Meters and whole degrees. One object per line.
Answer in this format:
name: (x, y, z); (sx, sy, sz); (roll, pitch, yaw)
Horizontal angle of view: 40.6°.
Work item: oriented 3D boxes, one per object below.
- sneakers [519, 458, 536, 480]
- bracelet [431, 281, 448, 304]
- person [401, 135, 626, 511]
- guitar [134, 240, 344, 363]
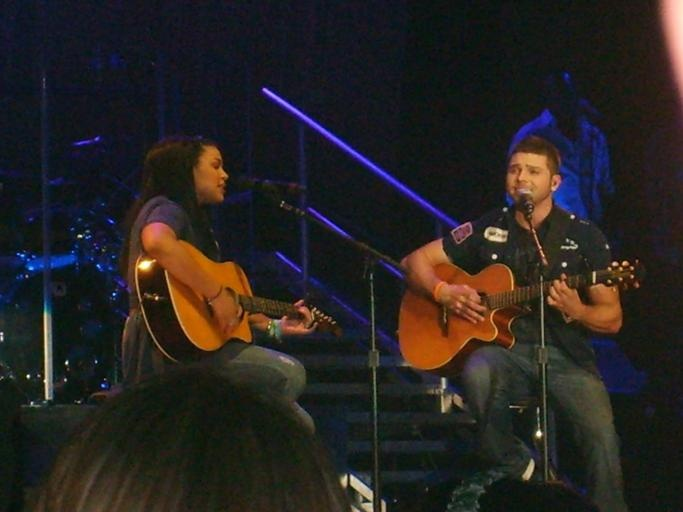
sneakers: (1.294, 1.487, 6.383); (0.068, 0.154, 0.182); (-13, -22, 29)
bracelet: (0.724, 0.270, 6.865); (0.033, 0.134, 0.140); (15, -44, 8)
person: (1.319, 0.487, 6.647); (1.342, 2.686, 0.576); (-8, -19, 16)
guitar: (-0.827, 0.375, 6.210); (0.399, 0.765, 1.208); (-18, -24, 39)
